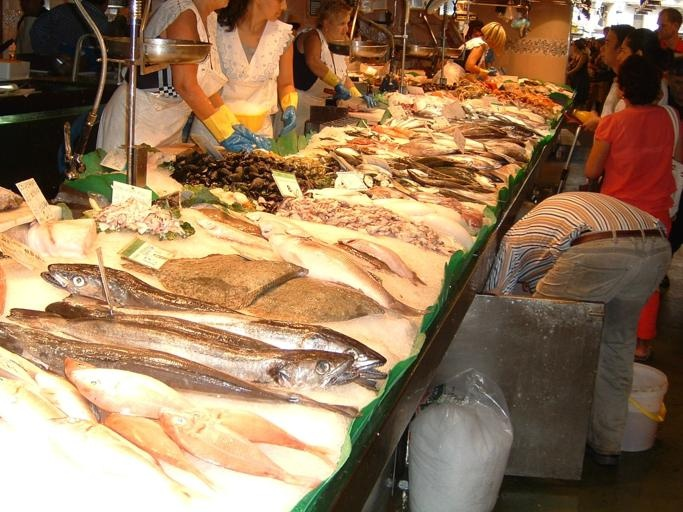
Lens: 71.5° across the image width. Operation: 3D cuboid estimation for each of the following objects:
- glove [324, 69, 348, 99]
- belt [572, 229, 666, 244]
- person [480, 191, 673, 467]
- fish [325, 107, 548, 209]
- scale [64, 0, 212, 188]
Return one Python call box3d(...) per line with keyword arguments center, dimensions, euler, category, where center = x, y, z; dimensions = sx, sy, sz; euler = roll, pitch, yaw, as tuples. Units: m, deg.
box3d(center=(-0.054, -1.638, 4.601), dimensions=(0.338, 0.093, 0.298), euler=(15, 21, -13), category="glove")
box3d(center=(1.347, -0.099, 2.337), dimensions=(0.230, 0.035, 0.152), euler=(-9, -2, 35), category="belt")
box3d(center=(1.190, 0.378, 2.550), dimensions=(0.909, 1.413, 0.415), euler=(5, 16, -7), category="person")
box3d(center=(0.435, -0.569, 2.673), dimensions=(1.118, 0.137, 0.844), euler=(14, 23, 17), category="fish")
box3d(center=(-0.722, -0.515, 1.510), dimensions=(0.596, 0.554, 0.331), euler=(19, 19, 39), category="scale")
